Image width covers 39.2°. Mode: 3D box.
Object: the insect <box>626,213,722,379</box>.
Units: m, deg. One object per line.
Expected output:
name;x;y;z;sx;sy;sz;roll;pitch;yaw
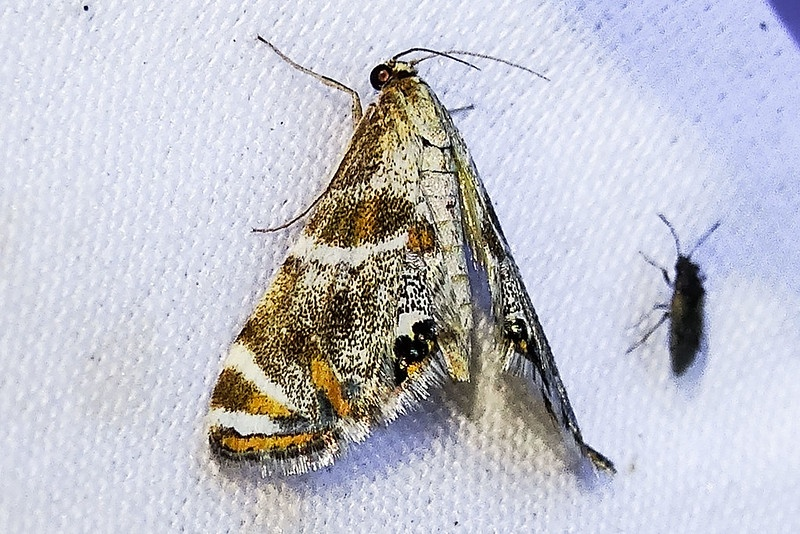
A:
insect;0.625;0.121;2.466;0.207;0.108;0.356;1;36;14
